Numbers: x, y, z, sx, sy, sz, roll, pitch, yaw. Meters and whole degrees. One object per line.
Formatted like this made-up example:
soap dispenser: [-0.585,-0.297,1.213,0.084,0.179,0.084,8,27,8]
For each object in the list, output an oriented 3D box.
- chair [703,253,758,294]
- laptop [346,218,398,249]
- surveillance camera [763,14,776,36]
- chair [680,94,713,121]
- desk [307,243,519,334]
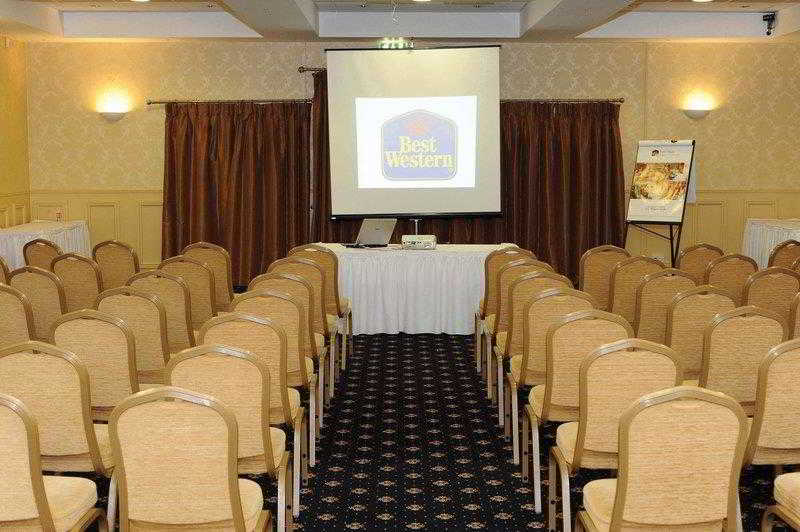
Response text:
chair: [3.034,0.072,5.987,0.323,0.569,0.336,0,17,2]
laptop: [-0.360,-0.425,8.290,0.419,0.286,0.414,2,2,-21]
surveillance camera: [5.675,-3.740,10.013,0.198,0.347,0.149,-10,16,-39]
chair: [4.978,-2.666,10.790,0.588,0.420,0.192,-3,13,-14]
desk: [0.099,0.342,8.322,2.079,0.982,0.818,0,-2,18]
